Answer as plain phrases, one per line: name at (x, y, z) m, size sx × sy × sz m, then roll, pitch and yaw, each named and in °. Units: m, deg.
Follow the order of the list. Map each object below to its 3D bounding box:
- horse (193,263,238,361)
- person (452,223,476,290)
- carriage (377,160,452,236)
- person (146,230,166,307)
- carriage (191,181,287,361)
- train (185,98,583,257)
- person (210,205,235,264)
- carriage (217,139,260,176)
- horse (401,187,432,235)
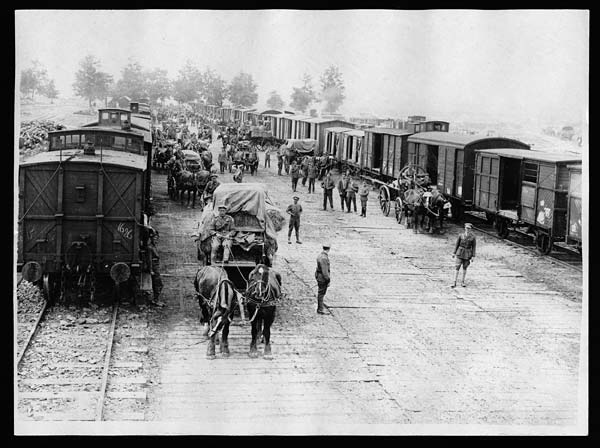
horse at (-2.074, 2.333, 14.434) m, size 1.124 × 2.334 × 1.400 m, roll 0°, pitch 10°, yaw -18°
person at (6.257, 1.150, 20.455) m, size 0.977 × 2.663 × 1.035 m, roll 5°, pitch 13°, yaw 2°
carriage at (6.424, -1.369, 31.014) m, size 1.964 × 3.049 × 5.895 m, roll -1°, pitch 13°, yaw -12°
person at (-5.114, 1.563, 19.037) m, size 0.897 × 2.835 × 0.915 m, roll -2°, pitch 10°, yaw -14°
carriage at (-2.154, -0.199, 19.767) m, size 2.642 × 5.044 × 9.314 m, roll 0°, pitch 33°, yaw -6°
train at (3.345, -7.022, 45.611) m, size 4.945 × 9.497 × 50.443 m, roll 0°, pitch 17°, yaw -29°
person at (-2.374, 0.285, 16.773) m, size 0.619 × 1.844 × 0.600 m, roll -1°, pitch 9°, yaw -19°
carriage at (-5.002, -4.724, 46.890) m, size 2.933 × 3.841 × 3.705 m, roll -5°, pitch 15°, yaw -18°
horse at (6.253, -0.834, 29.404) m, size 0.817 × 2.513 × 3.549 m, roll 5°, pitch 8°, yaw -6°
